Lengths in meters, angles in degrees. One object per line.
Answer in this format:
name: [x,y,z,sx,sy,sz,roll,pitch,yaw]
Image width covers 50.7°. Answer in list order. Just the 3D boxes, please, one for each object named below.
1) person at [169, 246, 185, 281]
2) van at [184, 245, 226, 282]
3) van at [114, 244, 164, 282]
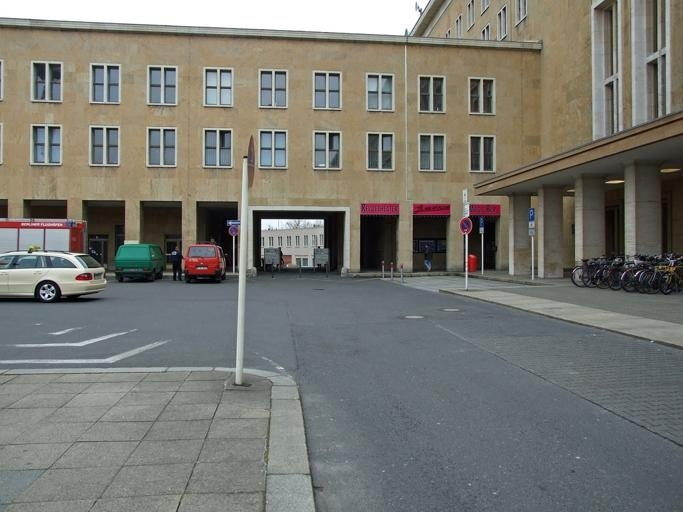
person: [-8.399,0.344,36.789,0.488,1.673,3.075,-2,1,-15]
van: [-6.386,0.223,34.163,1.137,1.272,2.202,0,4,-5]
van: [-9.630,0.232,34.958,1.339,1.335,2.452,-1,-5,-3]
